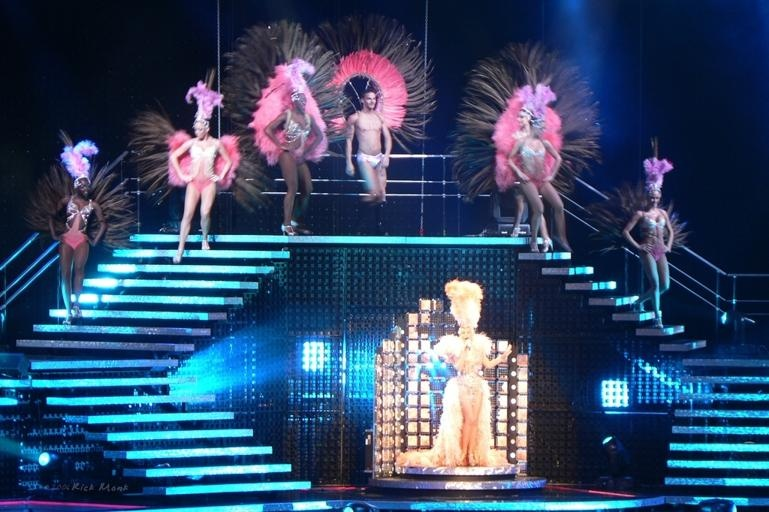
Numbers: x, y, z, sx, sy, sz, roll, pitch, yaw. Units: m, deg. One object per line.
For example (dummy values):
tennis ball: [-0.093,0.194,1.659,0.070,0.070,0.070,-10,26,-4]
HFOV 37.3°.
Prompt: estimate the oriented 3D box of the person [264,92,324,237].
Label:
person: [-1.382,-1.353,16.618,0.789,2.034,0.593,13,-16,-42]

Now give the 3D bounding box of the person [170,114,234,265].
person: [-2.737,-0.938,16.558,0.921,2.094,0.584,3,-12,-3]

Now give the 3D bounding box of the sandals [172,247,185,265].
sandals: [-3.007,-0.009,16.454,0.157,0.242,0.305,5,-12,-12]

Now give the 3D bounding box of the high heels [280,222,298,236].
high heels: [-1.410,-0.388,16.630,0.146,0.131,0.258,0,-1,-17]

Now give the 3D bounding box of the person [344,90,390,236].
person: [-0.277,-1.603,17.320,0.685,1.987,1.074,3,-12,-3]

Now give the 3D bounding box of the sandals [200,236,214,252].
sandals: [-2.634,-0.170,16.579,0.242,0.285,0.175,1,-5,-13]

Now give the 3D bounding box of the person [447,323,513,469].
person: [1.345,1.893,15.468,0.562,1.875,0.797,-3,-13,26]

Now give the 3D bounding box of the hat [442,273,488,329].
hat: [1.063,0.604,15.598,0.520,0.656,0.263,-3,13,-4]

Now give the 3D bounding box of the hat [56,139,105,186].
hat: [-4.560,-1.347,16.761,0.508,0.628,0.341,-7,-10,-44]

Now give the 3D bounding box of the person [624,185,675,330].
person: [3.983,0.138,17.115,0.714,2.077,1.502,0,-12,13]

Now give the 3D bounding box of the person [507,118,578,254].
person: [2.280,-1.021,16.652,1.014,1.978,0.556,13,-16,-42]

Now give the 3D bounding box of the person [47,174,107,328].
person: [-4.524,-0.062,16.552,0.762,2.189,0.582,-5,-14,31]

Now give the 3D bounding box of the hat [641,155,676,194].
hat: [3.958,-1.204,16.826,0.631,0.689,0.544,1,0,2]
